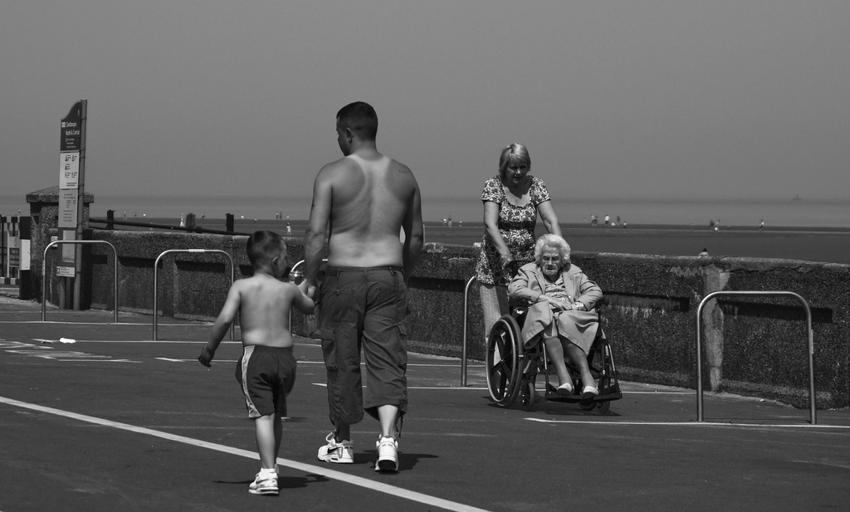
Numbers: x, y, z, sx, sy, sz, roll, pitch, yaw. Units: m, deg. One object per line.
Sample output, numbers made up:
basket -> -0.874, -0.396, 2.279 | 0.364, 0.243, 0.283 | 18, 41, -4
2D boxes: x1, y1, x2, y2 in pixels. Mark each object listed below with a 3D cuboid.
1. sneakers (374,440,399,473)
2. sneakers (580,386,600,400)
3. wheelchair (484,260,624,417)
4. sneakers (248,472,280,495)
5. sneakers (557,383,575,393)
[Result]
sneakers -> -0.299, 1.548, 9.832 | 0.189, 0.289, 0.246 | 2, -4, -2
sneakers -> 1.571, 1.282, 11.783 | 0.256, 0.136, 0.147 | 5, -5, -39
wheelchair -> 1.291, 0.974, 12.453 | 0.942, 1.351, 1.538 | 3, -6, -23
sneakers -> -1.203, 1.668, 9.312 | 0.239, 0.195, 0.143 | 1, -4, 6
sneakers -> 1.310, 1.238, 11.824 | 0.144, 0.102, 0.080 | 2, -4, -7
